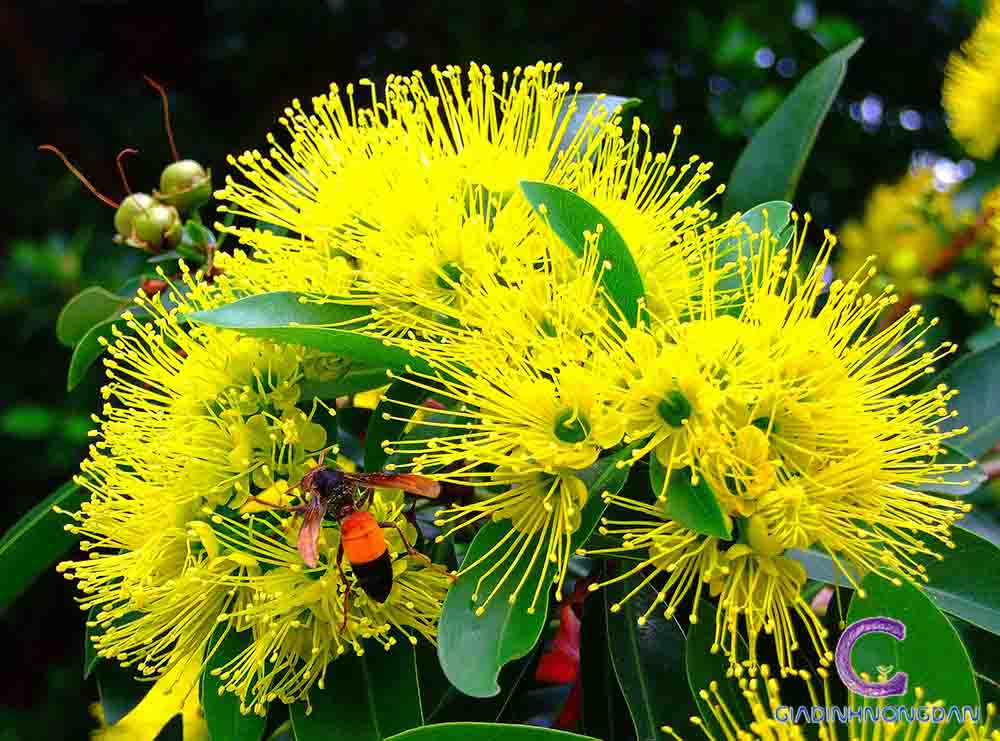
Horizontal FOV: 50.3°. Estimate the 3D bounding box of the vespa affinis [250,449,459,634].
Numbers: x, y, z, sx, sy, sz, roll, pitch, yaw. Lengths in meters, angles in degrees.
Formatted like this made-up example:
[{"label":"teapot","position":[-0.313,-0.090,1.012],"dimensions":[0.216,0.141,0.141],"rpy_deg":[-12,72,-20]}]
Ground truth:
[{"label":"vespa affinis","position":[-0.176,0.187,1.278],"dimensions":[0.176,0.086,0.234],"rpy_deg":[-17,41,-26]}]
